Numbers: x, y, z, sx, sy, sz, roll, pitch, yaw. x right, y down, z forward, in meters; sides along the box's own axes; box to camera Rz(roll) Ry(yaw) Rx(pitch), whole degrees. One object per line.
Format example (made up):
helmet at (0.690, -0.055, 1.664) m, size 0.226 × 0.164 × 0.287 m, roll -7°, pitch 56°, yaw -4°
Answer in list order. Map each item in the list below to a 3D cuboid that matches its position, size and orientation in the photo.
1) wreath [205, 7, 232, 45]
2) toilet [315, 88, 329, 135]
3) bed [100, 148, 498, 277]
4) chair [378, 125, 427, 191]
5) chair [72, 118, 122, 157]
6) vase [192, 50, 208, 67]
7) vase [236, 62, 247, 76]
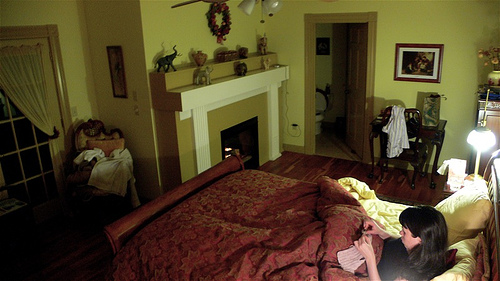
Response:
wreath at (-0.577, -2.147, 6.133) m, size 0.124 × 0.678 × 0.531 m, roll 16°, pitch 26°, yaw 42°
toilet at (1.767, -0.715, 8.087) m, size 0.327 × 1.051 × 0.689 m, roll 4°, pitch 20°, yaw 16°
bed at (0.554, 0.984, 3.972) m, size 4.270 × 0.790 × 1.828 m, roll 3°, pitch 19°, yaw 14°
chair at (2.804, 0.309, 5.935) m, size 0.851 × 1.112 × 0.883 m, roll 12°, pitch 29°, yaw 35°
chair at (-2.658, 0.044, 5.799) m, size 0.683 × 0.756 × 0.617 m, roll 2°, pitch -5°, yaw 22°
vase at (-0.866, -1.434, 5.678) m, size 0.259 × 0.224 × 0.266 m, roll -3°, pitch 11°, yaw -6°
vase at (-0.154, -1.348, 6.179) m, size 0.175 × 0.220 × 0.186 m, roll 7°, pitch 16°, yaw 11°
